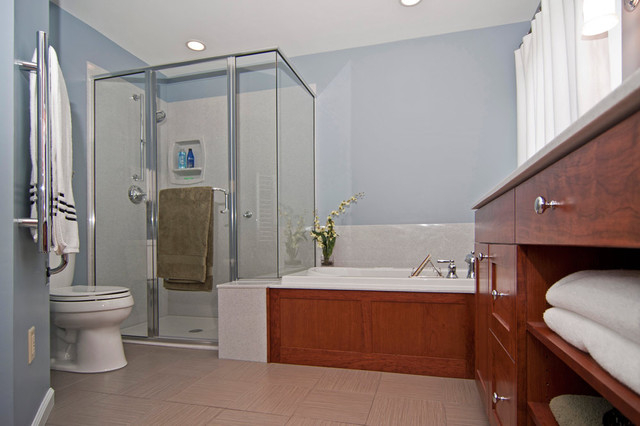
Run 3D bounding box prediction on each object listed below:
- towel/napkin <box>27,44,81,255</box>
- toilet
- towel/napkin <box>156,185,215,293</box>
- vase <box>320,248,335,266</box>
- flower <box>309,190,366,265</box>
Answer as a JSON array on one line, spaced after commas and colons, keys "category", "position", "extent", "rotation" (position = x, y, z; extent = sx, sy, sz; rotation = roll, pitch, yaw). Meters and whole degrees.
[{"category": "towel/napkin", "position": [-1.582, -0.337, 2.591], "extent": [0.223, 1.236, 0.775], "rotation": [-4, 8, -29]}, {"category": "toilet", "position": [-1.785, 0.879, 3.431], "extent": [0.681, 0.607, 0.562], "rotation": [-3, -7, 16]}, {"category": "towel/napkin", "position": [-1.150, 0.213, 3.765], "extent": [0.561, 0.856, 0.199], "rotation": [2, 7, 21]}, {"category": "vase", "position": [0.070, 0.394, 4.242], "extent": [0.118, 0.204, 0.185], "rotation": [-1, 7, 0]}, {"category": "flower", "position": [0.185, 0.166, 4.260], "extent": [0.655, 0.933, 0.419], "rotation": [-1, 4, -19]}]
